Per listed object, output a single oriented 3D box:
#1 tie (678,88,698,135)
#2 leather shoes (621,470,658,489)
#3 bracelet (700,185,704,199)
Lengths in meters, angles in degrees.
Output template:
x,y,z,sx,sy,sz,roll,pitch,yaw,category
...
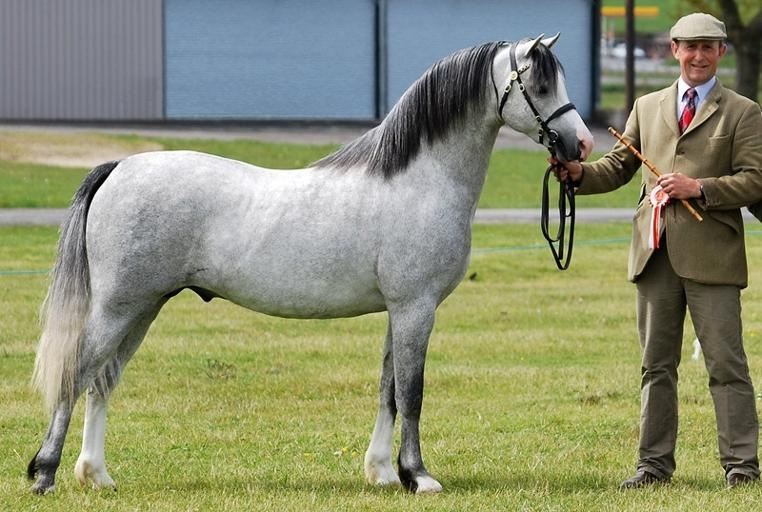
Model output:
x,y,z,sx,sy,sz,roll,pitch,yaw,category
4.108,-1.969,24.836,0.180,0.694,0.116,12,-7,16,tie
3.458,3.011,24.843,0.557,0.241,0.203,-1,-11,-1,leather shoes
4.258,-0.837,24.682,0.058,0.172,0.043,3,5,3,bracelet
